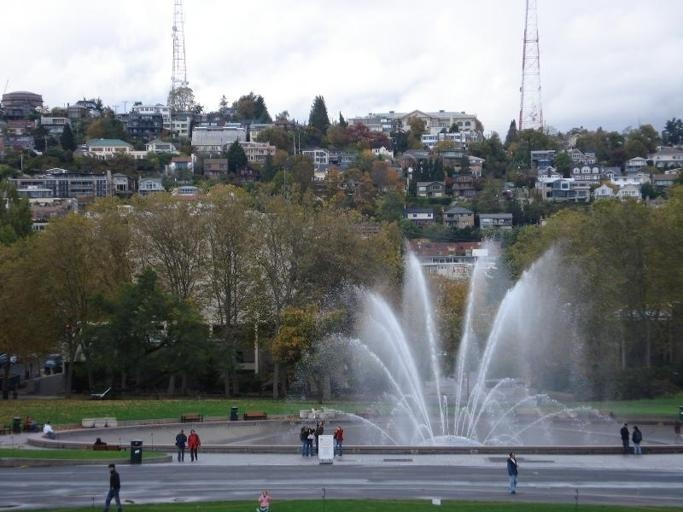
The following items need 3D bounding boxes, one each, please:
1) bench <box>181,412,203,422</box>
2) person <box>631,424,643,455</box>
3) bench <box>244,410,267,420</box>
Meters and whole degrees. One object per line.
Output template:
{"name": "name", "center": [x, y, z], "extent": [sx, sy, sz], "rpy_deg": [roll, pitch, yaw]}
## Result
{"name": "bench", "center": [-13.656, 14.673, 170.632], "extent": [1.788, 0.567, 1.644], "rpy_deg": [-2, 10, -11]}
{"name": "person", "center": [25.553, 15.885, 162.047], "extent": [0.839, 2.329, 1.281], "rpy_deg": [3, 10, 17]}
{"name": "bench", "center": [-7.891, 14.585, 171.664], "extent": [2.079, 0.617, 1.322], "rpy_deg": [-1, 10, -5]}
